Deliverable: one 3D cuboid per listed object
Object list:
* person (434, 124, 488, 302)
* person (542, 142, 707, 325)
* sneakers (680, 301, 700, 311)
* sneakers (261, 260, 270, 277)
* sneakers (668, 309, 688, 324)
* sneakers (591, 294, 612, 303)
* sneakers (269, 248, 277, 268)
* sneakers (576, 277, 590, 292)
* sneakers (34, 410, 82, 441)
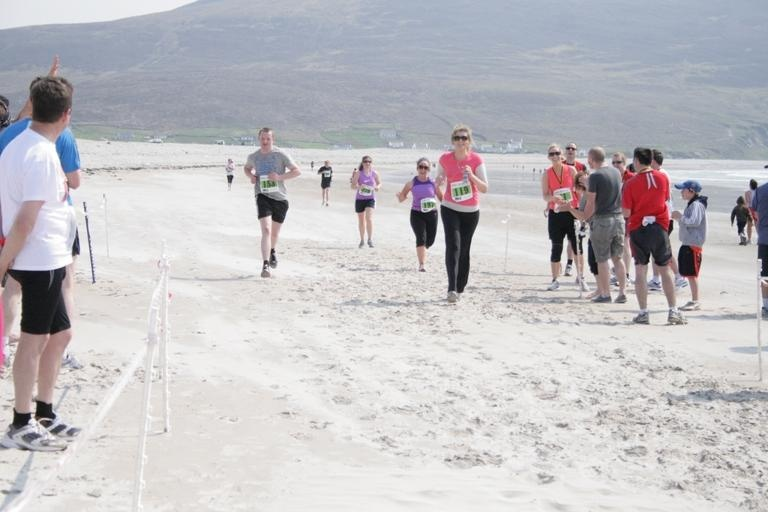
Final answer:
[{"bbox_3d":[1.092,-0.606,12.394,0.605,2.449,0.496,1,10,-2],"label":"person"},{"bbox_3d":[3.539,-0.291,11.632,0.834,2.238,0.958,2,10,3],"label":"person"},{"bbox_3d":[4.330,0.682,12.373,0.361,0.133,0.123,-3,3,-10],"label":"sneakers"},{"bbox_3d":[-1.823,0.184,13.588,0.152,0.262,0.382,3,-20,-5],"label":"sneakers"},{"bbox_3d":[3.822,0.776,11.451,0.148,0.144,0.337,6,4,36],"label":"sneakers"},{"bbox_3d":[3.157,0.604,12.804,0.278,0.096,0.105,2,8,14],"label":"sneakers"},{"bbox_3d":[-1.789,0.017,14.230,0.104,0.106,0.285,-3,25,-15],"label":"sneakers"},{"bbox_3d":[3.014,0.420,13.569,0.212,0.159,0.474,-7,-17,23],"label":"sneakers"},{"bbox_3d":[-2.951,1.530,7.954,0.475,0.190,0.167,24,7,-10],"label":"sneakers"}]
